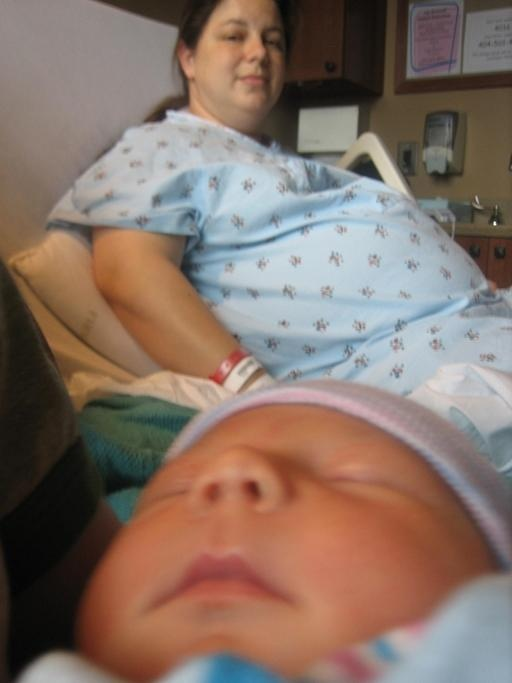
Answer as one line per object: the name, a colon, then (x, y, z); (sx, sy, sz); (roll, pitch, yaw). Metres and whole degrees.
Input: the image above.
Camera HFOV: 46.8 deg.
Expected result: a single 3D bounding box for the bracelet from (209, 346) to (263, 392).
bracelet: (-0.021, 0.025, 0.573); (0.040, 0.012, 0.039); (32, 67, 28)
